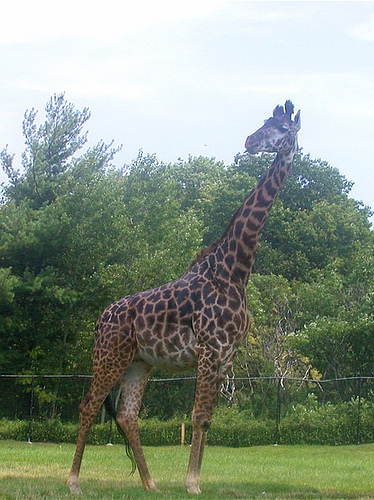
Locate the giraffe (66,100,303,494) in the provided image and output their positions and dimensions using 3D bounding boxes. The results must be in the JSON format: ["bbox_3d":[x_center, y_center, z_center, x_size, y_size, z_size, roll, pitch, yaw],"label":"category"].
[{"bbox_3d":[-0.308,0.892,11.823,2.362,4.831,7.477,5,-10,-8],"label":"giraffe"}]
